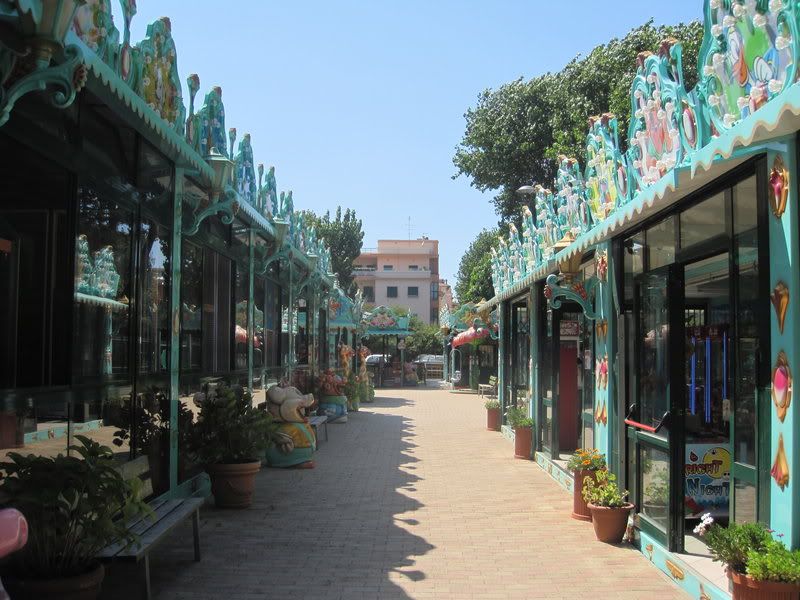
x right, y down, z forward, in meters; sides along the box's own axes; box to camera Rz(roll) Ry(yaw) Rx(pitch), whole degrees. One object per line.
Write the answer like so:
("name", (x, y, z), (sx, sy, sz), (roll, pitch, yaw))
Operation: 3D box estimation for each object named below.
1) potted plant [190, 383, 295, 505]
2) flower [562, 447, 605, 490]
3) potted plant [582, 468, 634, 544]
("potted plant", (-2.257, 1.863, 10.391), (0.879, 1.513, 1.040), (-2, 1, 4))
("flower", (2.310, 2.083, 9.655), (0.328, 0.443, 0.397), (-2, -5, 26))
("potted plant", (2.370, 2.335, 8.925), (0.551, 0.793, 0.513), (0, -2, 9))
